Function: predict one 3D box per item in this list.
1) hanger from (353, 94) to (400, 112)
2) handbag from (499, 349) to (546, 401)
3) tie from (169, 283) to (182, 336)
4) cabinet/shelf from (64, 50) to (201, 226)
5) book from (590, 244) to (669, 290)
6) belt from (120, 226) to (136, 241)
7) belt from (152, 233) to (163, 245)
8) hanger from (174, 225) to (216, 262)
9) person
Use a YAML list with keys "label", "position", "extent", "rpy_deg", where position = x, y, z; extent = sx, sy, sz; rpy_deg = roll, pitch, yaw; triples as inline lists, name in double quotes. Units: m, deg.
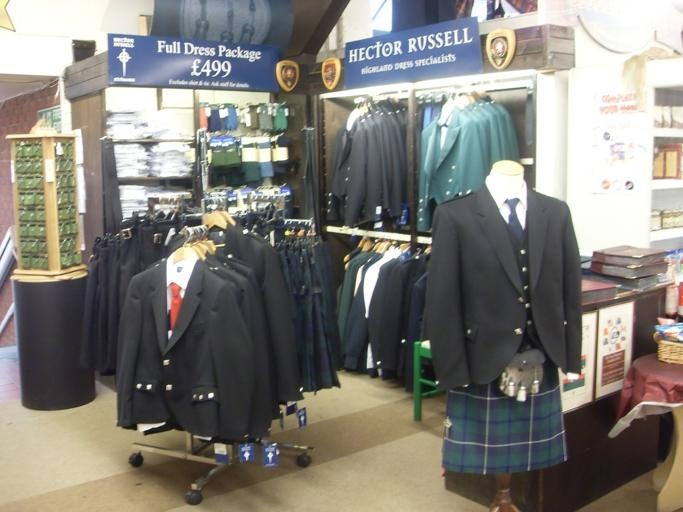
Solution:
- label: "hanger"
  position: [0.351, -1.509, 5.344]
  extent: [0.254, 0.081, 0.251]
  rpy_deg: [-2, 7, -20]
- label: "handbag"
  position: [0.861, 0.559, 2.547]
  extent: [0.257, 0.221, 0.110]
  rpy_deg: [-11, 14, -16]
- label: "tie"
  position: [-0.952, 0.284, 3.053]
  extent: [0.087, 0.268, 0.049]
  rpy_deg: [1, 10, 13]
- label: "cabinet/shelf"
  position: [-2.020, -1.065, 5.116]
  extent: [1.214, 1.600, 0.874]
  rpy_deg: [-3, 10, -11]
- label: "book"
  position: [1.827, 0.047, 3.437]
  extent: [0.291, 0.141, 0.335]
  rpy_deg: [-10, 7, -28]
- label: "belt"
  position: [-1.622, -0.172, 4.038]
  extent: [0.093, 0.087, 0.091]
  rpy_deg: [4, 10, 20]
- label: "belt"
  position: [-1.372, -0.132, 4.026]
  extent: [0.088, 0.117, 0.063]
  rpy_deg: [1, 11, -6]
- label: "hanger"
  position: [-0.855, -0.077, 3.181]
  extent: [0.114, 0.170, 0.320]
  rpy_deg: [1, 5, 22]
- label: "person"
  position: [0.793, 0.332, 2.672]
  extent: [0.776, 1.589, 0.369]
  rpy_deg: [-4, 10, -17]
